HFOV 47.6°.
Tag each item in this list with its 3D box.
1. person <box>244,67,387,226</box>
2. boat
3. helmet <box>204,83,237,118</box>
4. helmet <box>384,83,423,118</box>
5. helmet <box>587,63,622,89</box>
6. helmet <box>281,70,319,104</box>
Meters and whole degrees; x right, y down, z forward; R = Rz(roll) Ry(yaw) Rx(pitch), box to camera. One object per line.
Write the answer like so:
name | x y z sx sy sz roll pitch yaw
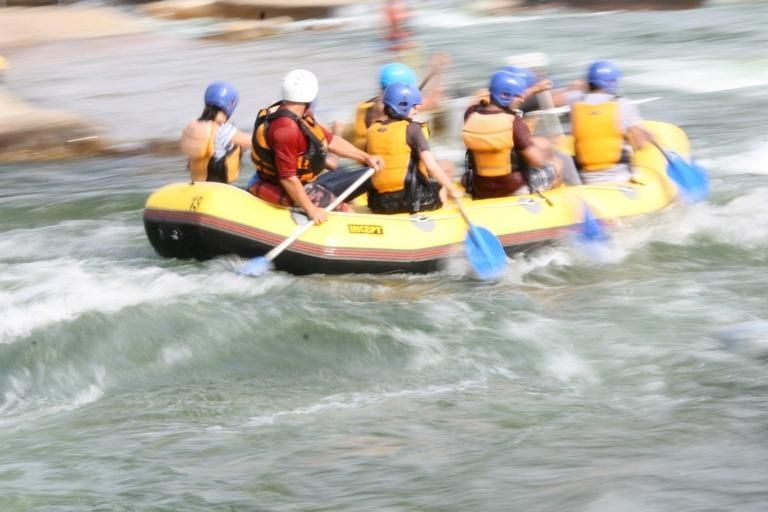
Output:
person | -0.855 -1.079 8.651 0.873 1.544 0.758 -36 39 -30
boat | 0.741 -0.571 9.261 5.244 0.588 2.056 -6 18 -22
helmet | -1.690 -1.625 9.064 0.293 0.399 0.263 -4 33 14
helmet | 0.172 -1.583 8.782 0.378 0.359 0.183 -9 33 3
helmet | 2.433 -2.025 9.777 0.339 0.332 0.241 -6 31 8
helmet | -0.891 -1.676 8.537 0.404 0.276 0.409 15 31 15
